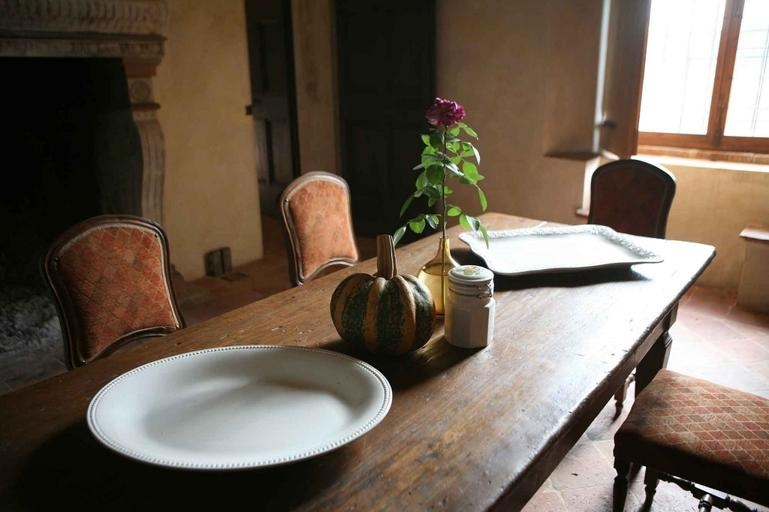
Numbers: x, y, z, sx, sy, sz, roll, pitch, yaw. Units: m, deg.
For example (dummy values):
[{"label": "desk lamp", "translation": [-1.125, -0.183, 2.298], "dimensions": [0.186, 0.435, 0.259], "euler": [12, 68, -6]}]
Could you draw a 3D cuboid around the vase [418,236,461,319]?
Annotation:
[{"label": "vase", "translation": [0.212, 0.053, 2.053], "dimensions": [0.160, 0.243, 0.158], "euler": [-6, 5, -27]}]

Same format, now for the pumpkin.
[{"label": "pumpkin", "translation": [-0.003, 0.126, 1.908], "dimensions": [0.354, 0.398, 0.345], "euler": [0, 0, 4]}]

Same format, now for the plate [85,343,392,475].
[{"label": "plate", "translation": [-0.390, 0.413, 1.598], "dimensions": [0.814, 0.157, 0.436], "euler": [-1, 17, 2]}]
